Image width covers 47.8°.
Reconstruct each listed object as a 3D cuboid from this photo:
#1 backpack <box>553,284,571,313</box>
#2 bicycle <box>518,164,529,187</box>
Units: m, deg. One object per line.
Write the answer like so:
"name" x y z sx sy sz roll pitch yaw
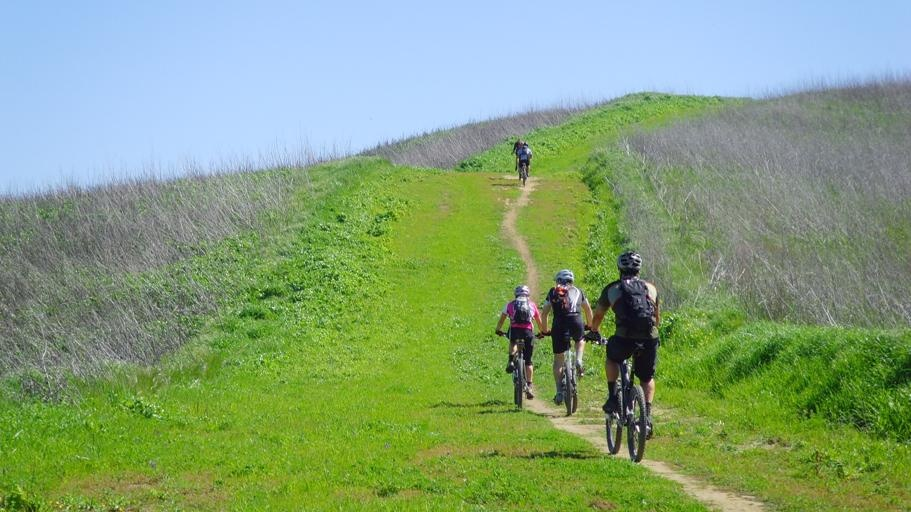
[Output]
"backpack" 4.023 1.544 38.999 0.751 1.117 0.449 -1 8 12
"bicycle" 4.241 -5.295 63.878 0.438 1.368 1.239 -3 8 -6
